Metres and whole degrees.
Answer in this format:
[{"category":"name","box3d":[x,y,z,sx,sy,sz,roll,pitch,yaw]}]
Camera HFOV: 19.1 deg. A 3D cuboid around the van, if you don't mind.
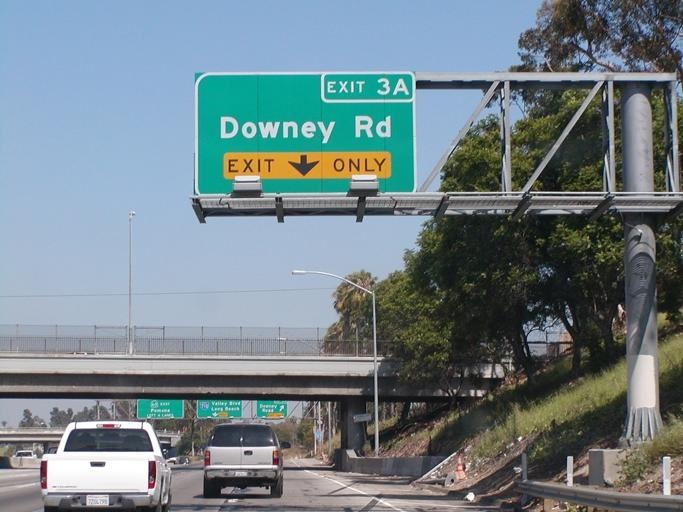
[{"category":"van","box3d":[-4.527,9.592,97.983,3.316,2.942,6.132,0,-5,1]}]
